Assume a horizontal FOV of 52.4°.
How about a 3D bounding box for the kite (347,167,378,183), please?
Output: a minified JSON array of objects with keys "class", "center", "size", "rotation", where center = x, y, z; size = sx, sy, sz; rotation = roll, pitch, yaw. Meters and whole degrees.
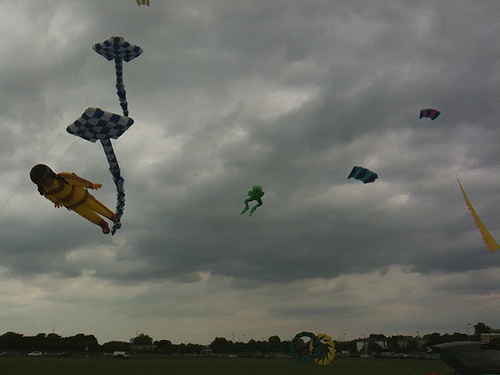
[{"class":"kite","center":[12.053,-1.351,54.712],"size":[2.277,1.671,1.411],"rotation":[-15,-29,25]}]
